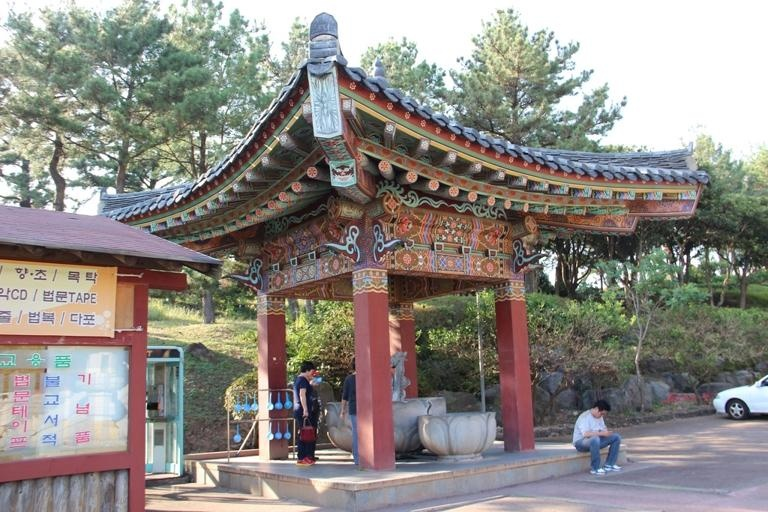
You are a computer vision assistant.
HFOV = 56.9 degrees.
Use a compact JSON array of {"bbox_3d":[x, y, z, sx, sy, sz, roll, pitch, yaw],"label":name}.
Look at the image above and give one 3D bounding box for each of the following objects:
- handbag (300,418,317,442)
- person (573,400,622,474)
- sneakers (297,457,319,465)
[{"bbox_3d":[-1.577,3.607,14.620,0.491,0.612,0.201,1,5,-10],"label":"handbag"},{"bbox_3d":[4.418,3.777,14.714,0.892,1.450,0.781,-6,-14,8],"label":"person"},{"bbox_3d":[-1.606,4.278,14.690,0.324,0.130,0.152,-3,-10,8],"label":"sneakers"}]
